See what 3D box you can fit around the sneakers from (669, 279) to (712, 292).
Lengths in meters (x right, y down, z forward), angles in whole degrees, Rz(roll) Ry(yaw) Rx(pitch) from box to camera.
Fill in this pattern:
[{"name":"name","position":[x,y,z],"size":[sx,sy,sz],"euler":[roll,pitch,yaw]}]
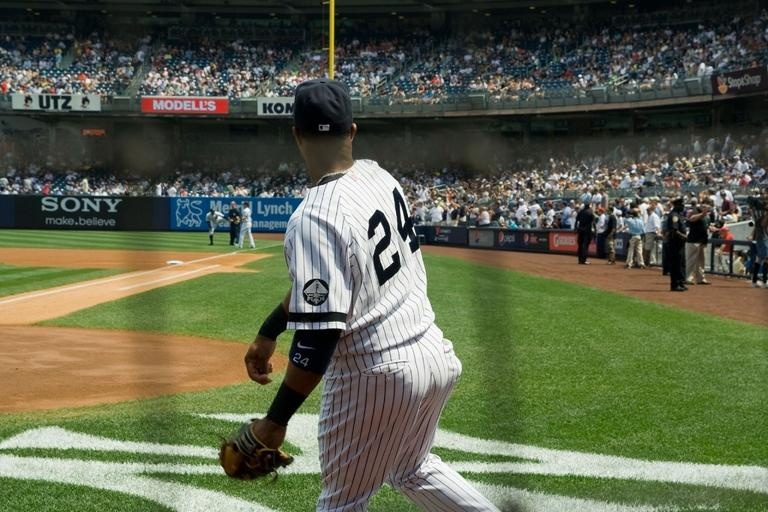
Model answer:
[{"name":"sneakers","position":[8.804,0.852,27.822],"size":[0.666,0.295,0.217],"euler":[-11,5,-11]}]

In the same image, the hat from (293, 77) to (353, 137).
[{"name":"hat","position":[-1.130,-2.696,17.609],"size":[0.773,0.427,1.151],"euler":[0,38,-4]}]
